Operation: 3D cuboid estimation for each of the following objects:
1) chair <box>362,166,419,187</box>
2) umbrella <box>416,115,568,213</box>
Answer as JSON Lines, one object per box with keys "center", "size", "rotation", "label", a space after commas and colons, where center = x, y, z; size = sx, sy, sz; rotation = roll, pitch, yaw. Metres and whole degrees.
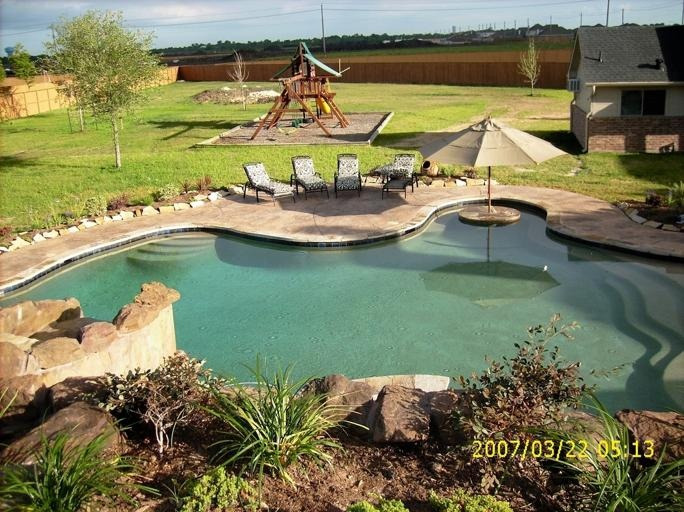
{"center": [1.889, -2.952, 16.421], "size": [1.436, 0.463, 1.219], "rotation": [-1, 15, -2], "label": "chair"}
{"center": [4.179, -2.394, 12.708], "size": [3.661, 2.031, 3.244], "rotation": [10, 31, 23], "label": "umbrella"}
